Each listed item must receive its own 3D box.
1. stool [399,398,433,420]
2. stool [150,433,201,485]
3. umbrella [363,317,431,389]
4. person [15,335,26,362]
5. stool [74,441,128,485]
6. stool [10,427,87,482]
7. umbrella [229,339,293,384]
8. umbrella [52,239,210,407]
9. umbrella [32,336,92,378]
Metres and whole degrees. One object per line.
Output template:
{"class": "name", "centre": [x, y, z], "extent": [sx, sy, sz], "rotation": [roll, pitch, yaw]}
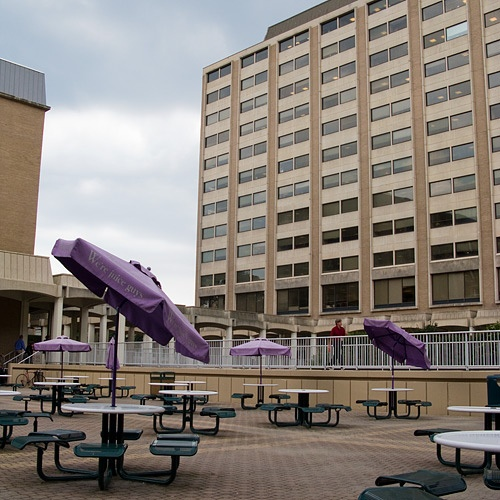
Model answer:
{"class": "stool", "centre": [4.990, 4.727, 19.178], "extent": [0.926, 0.478, 1.106], "rotation": [0, -10, 2]}
{"class": "stool", "centre": [-1.028, 2.664, 8.676], "extent": [0.765, 0.402, 1.054], "rotation": [0, -5, 1]}
{"class": "umbrella", "centre": [3.992, 2.638, 17.440], "extent": [1.669, 1.582, 1.225], "rotation": [-3, -11, 7]}
{"class": "person", "centre": [-12.950, 5.606, 36.222], "extent": [0.555, 1.384, 2.001], "rotation": [3, -11, -20]}
{"class": "stool", "centre": [-2.063, 2.960, 8.891], "extent": [0.657, 0.251, 0.985], "rotation": [2, -38, -3]}
{"class": "stool", "centre": [-2.757, 2.837, 9.066], "extent": [1.065, 0.556, 0.834], "rotation": [8, -18, -22]}
{"class": "umbrella", "centre": [0.249, 3.829, 22.047], "extent": [1.891, 1.540, 3.405], "rotation": [0, -10, -6]}
{"class": "umbrella", "centre": [-1.628, 0.989, 8.821], "extent": [2.049, 2.262, 1.796], "rotation": [0, -11, -6]}
{"class": "umbrella", "centre": [-6.373, 3.656, 21.692], "extent": [1.972, 1.469, 1.933], "rotation": [-8, -12, 39]}
